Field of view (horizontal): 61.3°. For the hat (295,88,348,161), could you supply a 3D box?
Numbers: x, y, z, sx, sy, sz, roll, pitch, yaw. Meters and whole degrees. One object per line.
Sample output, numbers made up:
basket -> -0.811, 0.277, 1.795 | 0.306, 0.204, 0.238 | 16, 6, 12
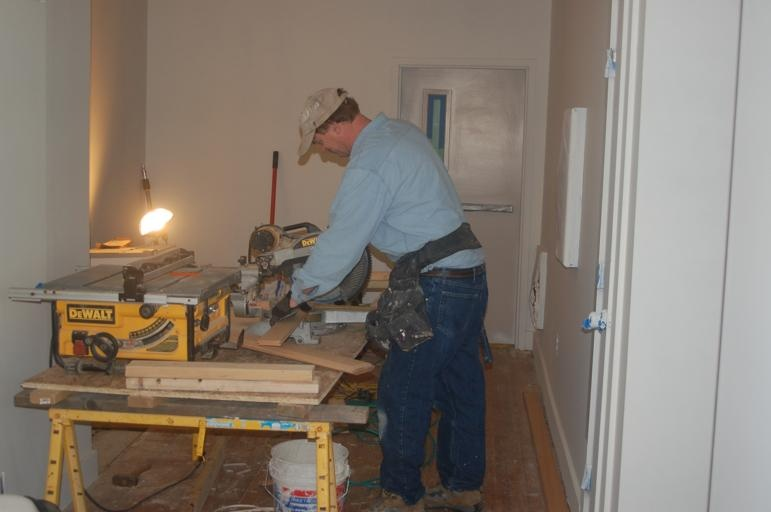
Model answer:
hat -> -0.332, -0.711, 3.318 | 0.180, 0.343, 0.229 | 45, 17, -10

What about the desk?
desk -> -0.881, 0.683, 3.158 | 1.023, 0.673, 1.068 | 1, 6, 4

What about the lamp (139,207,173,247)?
lamp -> -1.832, -0.245, 5.188 | 0.212, 0.304, 0.663 | -6, 15, -22

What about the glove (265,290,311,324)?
glove -> -0.463, 0.247, 3.257 | 0.104, 0.134, 0.301 | -13, 5, -38
